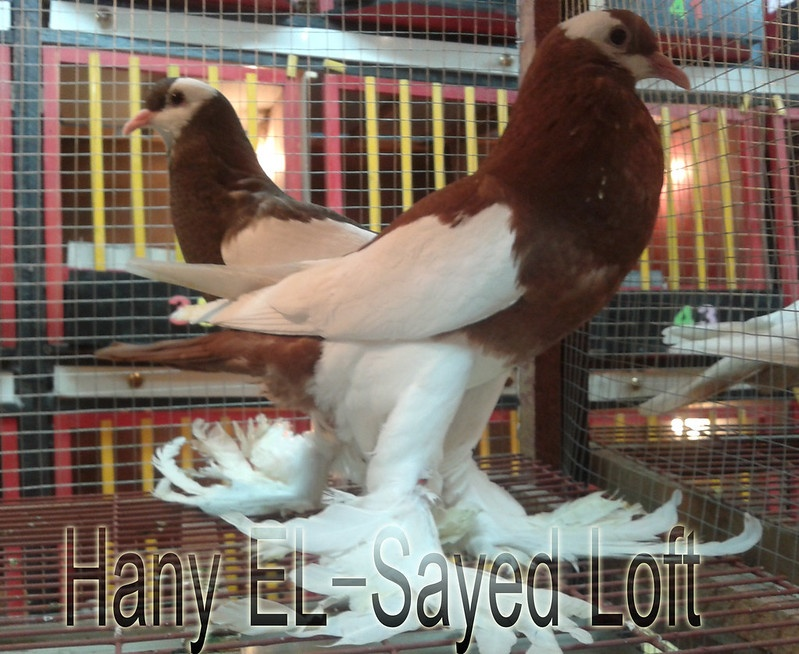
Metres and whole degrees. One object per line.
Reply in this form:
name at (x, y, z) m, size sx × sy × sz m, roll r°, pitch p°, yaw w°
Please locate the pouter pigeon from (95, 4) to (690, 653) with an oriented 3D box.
pouter pigeon at (0.016, -0.023, 1.873) m, size 0.855 × 0.896 × 0.495 m, roll 6°, pitch 17°, yaw 10°
